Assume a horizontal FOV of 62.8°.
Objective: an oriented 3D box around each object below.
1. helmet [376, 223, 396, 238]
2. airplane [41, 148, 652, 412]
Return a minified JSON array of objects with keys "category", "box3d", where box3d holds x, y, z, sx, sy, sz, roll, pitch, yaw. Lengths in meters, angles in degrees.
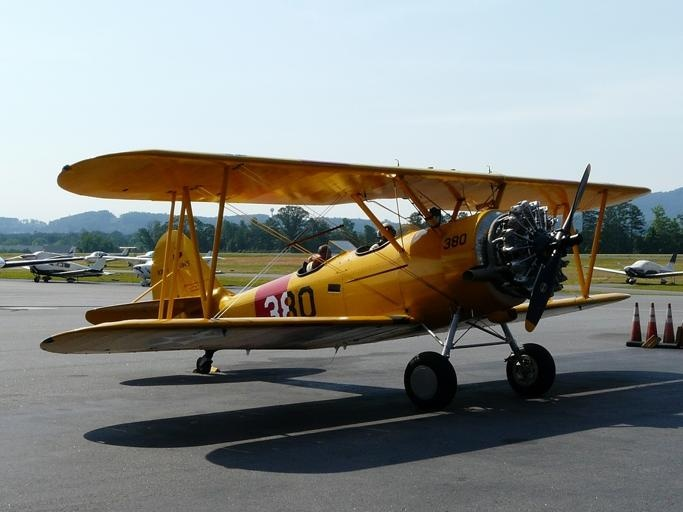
[{"category":"helmet","box3d":[0.586,-0.369,7.917,0.233,0.178,0.249,0,-1,25]},{"category":"airplane","box3d":[-0.299,0.426,8.390,6.519,1.690,8.893,-4,0,40]}]
